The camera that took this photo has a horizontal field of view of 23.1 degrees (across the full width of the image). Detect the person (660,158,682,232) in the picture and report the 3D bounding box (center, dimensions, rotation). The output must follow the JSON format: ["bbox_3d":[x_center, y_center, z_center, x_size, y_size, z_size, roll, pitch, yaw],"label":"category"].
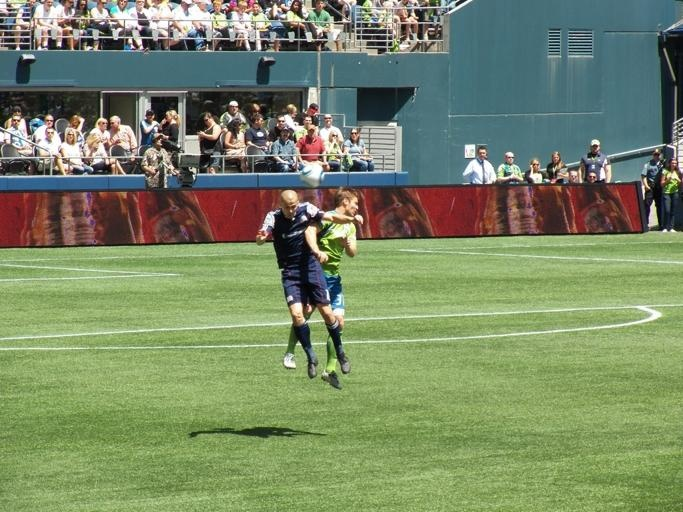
[{"bbox_3d":[8.249,-1.564,41.989,0.433,1.920,0.824,4,12,18],"label":"person"}]

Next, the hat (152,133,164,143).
[{"bbox_3d":[-4.449,-2.916,40.256,0.200,0.210,0.228,29,-8,-2],"label":"hat"}]

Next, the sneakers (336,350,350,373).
[{"bbox_3d":[0.021,1.647,25.745,0.125,0.403,0.164,-13,-20,-3],"label":"sneakers"}]

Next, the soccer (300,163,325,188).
[{"bbox_3d":[-0.475,-1.261,26.224,0.346,0.369,0.357,6,42,-9],"label":"soccer"}]

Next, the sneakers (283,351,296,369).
[{"bbox_3d":[-0.826,1.593,26.005,0.127,0.158,0.335,-1,11,-14],"label":"sneakers"}]

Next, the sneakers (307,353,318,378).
[{"bbox_3d":[-0.462,1.677,25.672,0.137,0.417,0.175,-2,-9,1],"label":"sneakers"}]

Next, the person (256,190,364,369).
[{"bbox_3d":[-0.553,0.394,25.768,1.430,2.804,1.007,0,12,-1],"label":"person"}]
